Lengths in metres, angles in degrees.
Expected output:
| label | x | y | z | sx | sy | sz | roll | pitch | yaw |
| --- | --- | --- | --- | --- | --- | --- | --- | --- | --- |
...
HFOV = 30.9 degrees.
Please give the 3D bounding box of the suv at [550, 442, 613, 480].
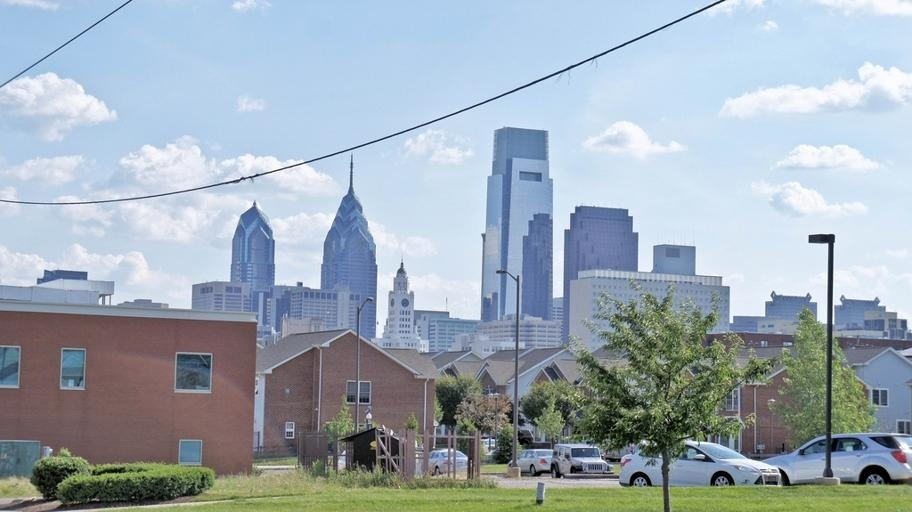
| label | x | y | z | sx | sy | sz | roll | pitch | yaw |
| --- | --- | --- | --- | --- | --- | --- | --- | --- | --- |
| suv | 9.171 | 15.428 | 122.781 | 3.453 | 2.586 | 5.473 | 1 | -2 | -22 |
